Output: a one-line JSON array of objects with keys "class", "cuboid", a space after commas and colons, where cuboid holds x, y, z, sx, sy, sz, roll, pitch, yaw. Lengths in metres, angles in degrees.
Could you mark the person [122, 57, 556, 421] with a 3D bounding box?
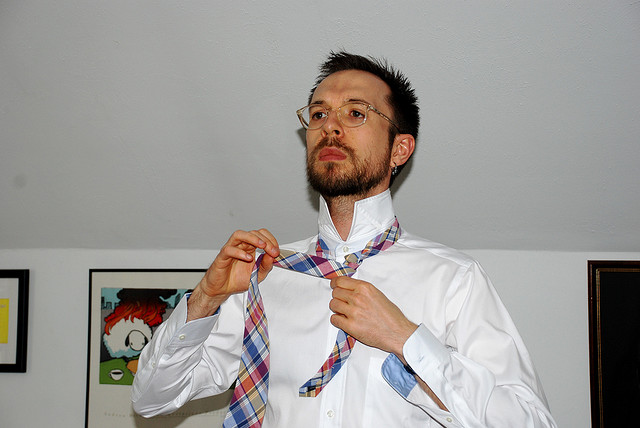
[{"class": "person", "cuboid": [0.148, 0.045, 2.594, 1.495, 2.072, 0.618, -4, -20, 20]}]
